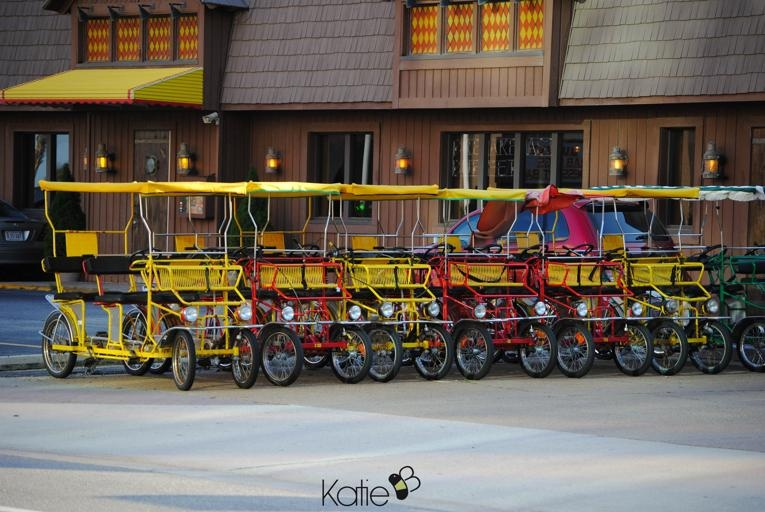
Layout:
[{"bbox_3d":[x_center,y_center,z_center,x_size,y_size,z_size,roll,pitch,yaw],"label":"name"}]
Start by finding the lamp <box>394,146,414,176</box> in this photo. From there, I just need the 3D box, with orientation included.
[{"bbox_3d":[0.469,-2.156,32.913,0.433,0.698,0.273,3,13,12],"label":"lamp"}]

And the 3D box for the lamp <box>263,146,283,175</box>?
[{"bbox_3d":[-2.571,-2.246,34.273,0.411,0.658,0.341,-7,14,-27],"label":"lamp"}]

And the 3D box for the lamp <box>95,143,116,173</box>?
[{"bbox_3d":[-6.829,-2.407,35.809,0.417,0.747,0.342,-8,15,-33],"label":"lamp"}]

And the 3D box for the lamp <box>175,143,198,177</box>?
[{"bbox_3d":[-4.687,-2.336,34.853,0.417,0.773,0.353,-8,14,-31],"label":"lamp"}]

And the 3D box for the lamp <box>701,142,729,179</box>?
[{"bbox_3d":[6.767,-1.952,29.591,0.453,0.757,0.413,1,12,7],"label":"lamp"}]

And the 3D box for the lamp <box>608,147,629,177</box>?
[{"bbox_3d":[4.977,-1.967,30.608,0.379,0.646,0.300,2,12,9],"label":"lamp"}]
